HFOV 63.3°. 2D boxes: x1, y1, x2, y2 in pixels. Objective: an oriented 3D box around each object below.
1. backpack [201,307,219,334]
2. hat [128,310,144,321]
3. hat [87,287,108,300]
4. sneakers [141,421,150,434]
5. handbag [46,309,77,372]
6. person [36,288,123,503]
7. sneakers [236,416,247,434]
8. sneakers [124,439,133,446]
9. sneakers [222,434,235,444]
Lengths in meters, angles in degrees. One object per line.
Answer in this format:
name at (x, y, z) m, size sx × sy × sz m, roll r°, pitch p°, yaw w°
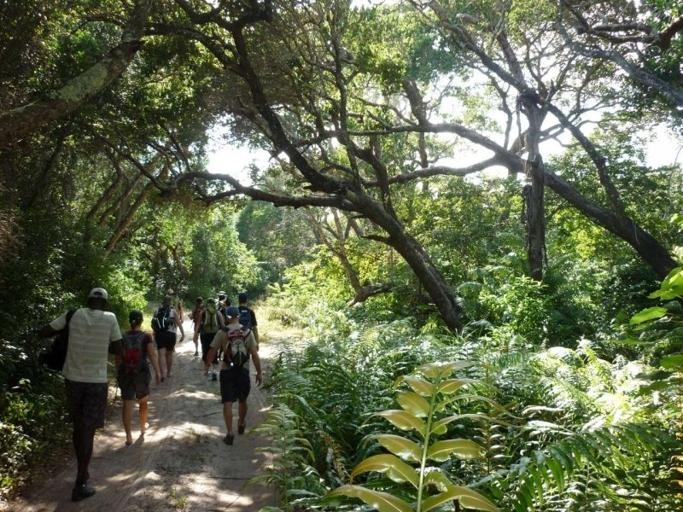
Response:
backpack at (-3.078, 1.524, 12.975) m, size 0.563 × 0.687 × 0.381 m, roll 1°, pitch -10°, yaw -9°
hat at (-3.728, 1.066, 10.026) m, size 0.189 × 0.256 × 0.252 m, roll 2°, pitch 7°, yaw -26°
hat at (-3.755, 0.583, 8.552) m, size 0.253 × 0.207 × 0.417 m, roll 13°, pitch -8°, yaw -16°
sneakers at (-3.453, 2.994, 9.705) m, size 0.100 × 0.067 × 0.256 m, roll 17°, pitch -3°, yaw -8°
handbag at (-4.180, 1.229, 8.210) m, size 0.481 × 0.882 × 0.267 m, roll -9°, pitch -18°, yaw 24°
person at (-3.790, 1.938, 8.105) m, size 0.941 × 2.998 × 0.346 m, roll 5°, pitch -18°, yaw -21°
sneakers at (-1.777, 2.955, 9.732) m, size 0.100 × 0.303 × 0.116 m, roll 0°, pitch -7°, yaw -3°
sneakers at (-3.564, 3.102, 9.213) m, size 0.136 × 0.116 × 0.094 m, roll -4°, pitch -17°, yaw 9°
sneakers at (-1.898, 3.057, 9.277) m, size 0.113 × 0.131 × 0.190 m, roll 5°, pitch 11°, yaw -15°
